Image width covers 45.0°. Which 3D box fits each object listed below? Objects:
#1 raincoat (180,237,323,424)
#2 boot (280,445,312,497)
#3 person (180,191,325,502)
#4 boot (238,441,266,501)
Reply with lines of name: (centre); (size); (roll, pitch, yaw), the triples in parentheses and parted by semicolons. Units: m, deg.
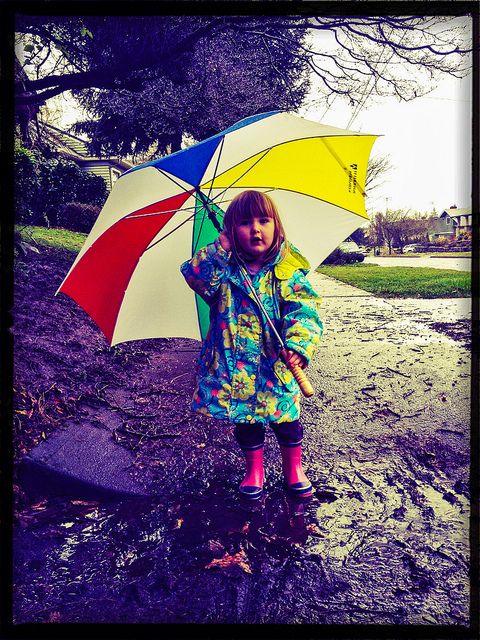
raincoat: (0.047, 0.050, 2.769); (0.666, 0.922, 0.379); (2, 2, -6)
boot: (0.287, 0.758, 2.961); (0.130, 0.254, 0.269); (-8, 11, -1)
person: (0.143, 0.130, 2.852); (0.737, 1.589, 0.542); (3, 2, 38)
boot: (0.056, 0.766, 2.968); (0.129, 0.307, 0.139); (2, 2, -1)
